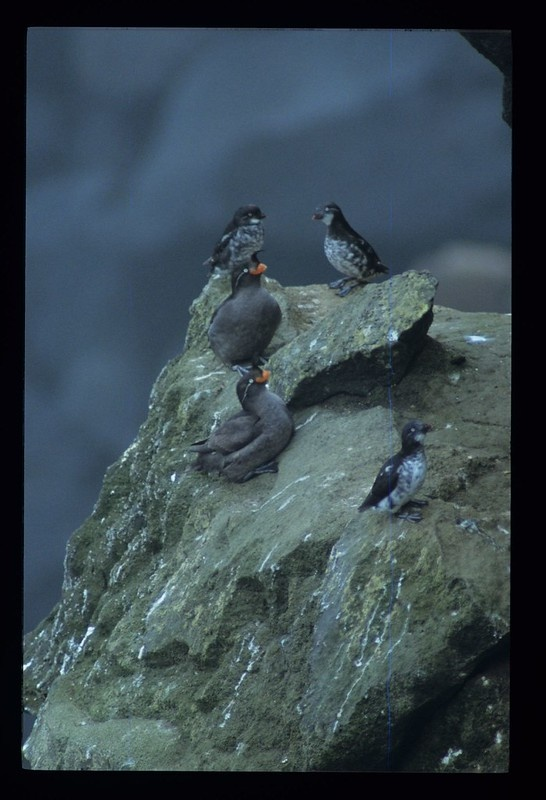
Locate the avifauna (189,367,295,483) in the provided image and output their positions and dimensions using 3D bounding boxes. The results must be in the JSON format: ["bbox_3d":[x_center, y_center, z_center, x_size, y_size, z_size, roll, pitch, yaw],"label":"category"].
[{"bbox_3d":[-0.114,0.097,4.820,0.509,0.495,0.322,-3,12,27],"label":"avifauna"}]

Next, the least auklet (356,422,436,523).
[{"bbox_3d":[0.439,0.237,3.811,0.359,0.350,0.194,0,31,8],"label":"least auklet"}]
